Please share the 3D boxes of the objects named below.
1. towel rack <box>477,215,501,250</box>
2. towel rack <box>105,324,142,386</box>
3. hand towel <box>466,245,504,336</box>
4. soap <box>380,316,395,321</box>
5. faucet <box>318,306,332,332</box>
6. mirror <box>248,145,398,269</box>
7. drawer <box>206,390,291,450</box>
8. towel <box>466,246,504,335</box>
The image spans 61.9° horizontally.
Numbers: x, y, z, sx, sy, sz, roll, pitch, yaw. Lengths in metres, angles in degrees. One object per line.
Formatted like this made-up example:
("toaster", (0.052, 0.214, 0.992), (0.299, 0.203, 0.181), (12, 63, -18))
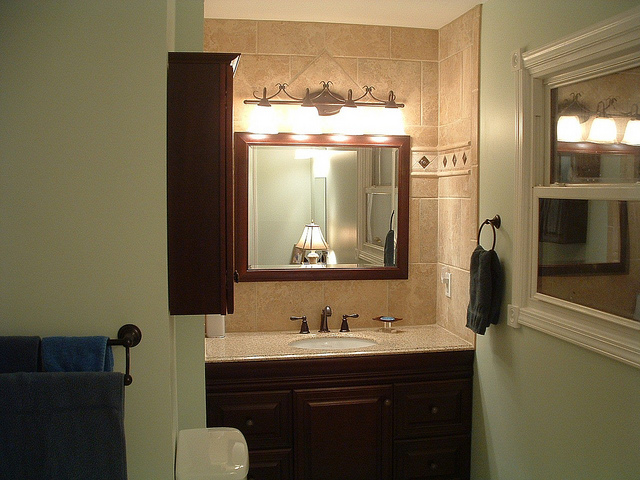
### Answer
("towel rack", (0.924, -0.047, 2.927), (0.113, 0.206, 0.226), (4, 15, 17))
("towel rack", (-0.665, 0.394, 1.859), (0.075, 0.182, 0.134), (2, -1, -18))
("hand towel", (0.869, 0.267, 2.862), (0.089, 0.430, 0.216), (1, 8, -4))
("soap", (0.433, 0.508, 3.438), (0.093, 0.018, 0.061), (1, 15, 5))
("faucet", (0.030, 0.510, 3.395), (0.076, 0.161, 0.044), (-2, 14, -7))
("mirror", (0.026, -0.210, 3.431), (0.987, 0.790, 0.156), (-2, 14, -8))
("drawer", (-0.408, 0.806, 3.219), (0.557, 0.413, 0.573), (6, -2, -9))
("towel", (0.890, 0.276, 2.916), (0.103, 0.467, 0.294), (6, -2, -4))
